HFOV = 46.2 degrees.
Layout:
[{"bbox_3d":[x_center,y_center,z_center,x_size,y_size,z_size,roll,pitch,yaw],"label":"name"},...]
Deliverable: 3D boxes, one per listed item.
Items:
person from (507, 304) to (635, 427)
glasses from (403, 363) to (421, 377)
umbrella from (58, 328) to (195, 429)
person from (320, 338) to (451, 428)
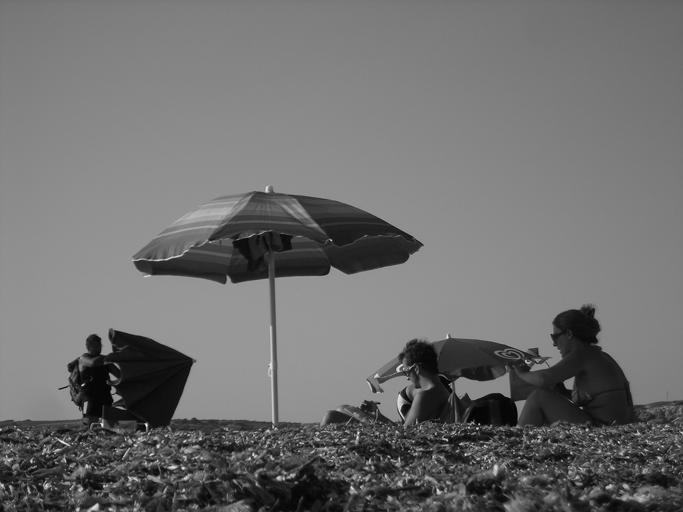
[{"bbox_3d":[1.669,0.874,5.909,0.823,0.870,0.570,-7,-27,15],"label":"person"},{"bbox_3d":[0.574,0.926,6.586,0.122,0.035,0.124,14,-28,-26],"label":"glasses"},{"bbox_3d":[-1.860,0.953,7.199,0.826,0.625,0.861,-14,11,-16],"label":"umbrella"},{"bbox_3d":[0.347,1.205,6.731,1.254,0.811,0.545,-9,-5,33],"label":"person"}]
